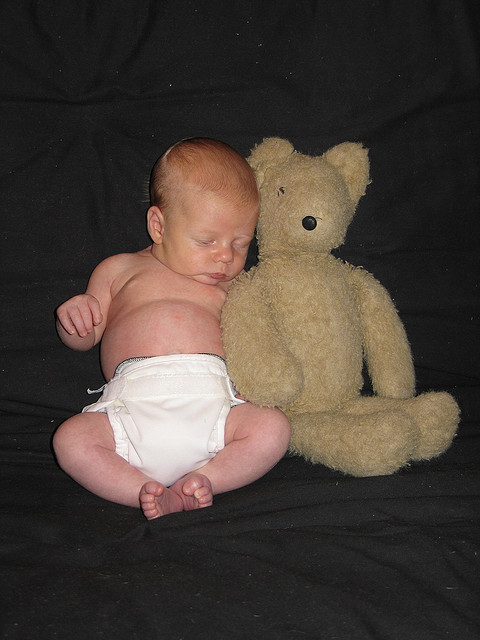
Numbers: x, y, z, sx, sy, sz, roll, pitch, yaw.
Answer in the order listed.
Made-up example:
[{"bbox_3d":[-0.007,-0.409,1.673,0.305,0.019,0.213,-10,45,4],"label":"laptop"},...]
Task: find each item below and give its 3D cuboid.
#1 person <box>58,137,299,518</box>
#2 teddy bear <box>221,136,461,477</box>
[{"bbox_3d":[-0.162,0.054,1.517,0.532,0.696,0.317,10,-27,-24],"label":"person"},{"bbox_3d":[0.190,-0.044,1.444,0.454,0.621,0.497,1,16,1],"label":"teddy bear"}]
